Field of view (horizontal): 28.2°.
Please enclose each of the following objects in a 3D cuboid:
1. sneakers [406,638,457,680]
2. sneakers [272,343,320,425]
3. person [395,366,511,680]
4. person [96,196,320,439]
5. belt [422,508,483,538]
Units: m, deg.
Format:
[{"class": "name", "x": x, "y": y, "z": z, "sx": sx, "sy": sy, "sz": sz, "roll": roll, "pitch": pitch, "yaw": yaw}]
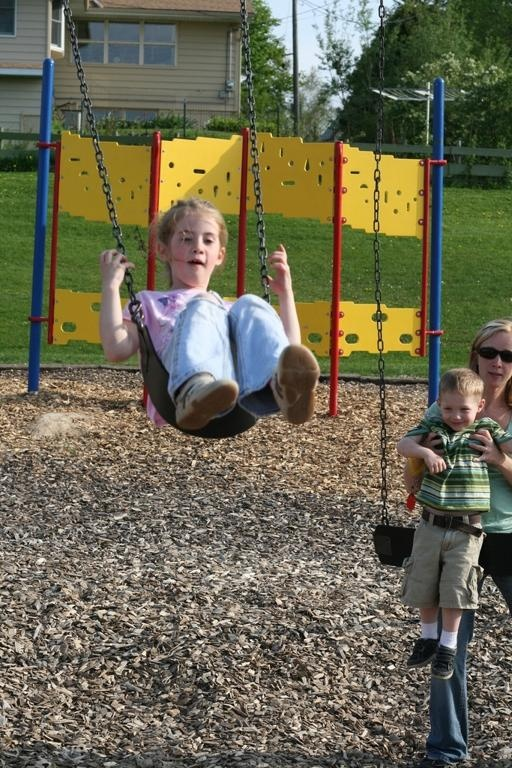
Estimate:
[{"class": "sneakers", "x": 0.499, "y": 0.786, "z": 2.897, "sx": 0.093, "sy": 0.058, "sz": 0.156, "roll": 1, "pitch": -12, "yaw": 25}, {"class": "sneakers", "x": 0.115, "y": -0.008, "z": 2.923, "sx": 0.103, "sy": 0.261, "sz": 0.120, "roll": -9, "pitch": 40, "yaw": -3}, {"class": "person", "x": 0.569, "y": 0.409, "z": 2.954, "sx": 0.275, "sy": 0.885, "sz": 0.386, "roll": 2, "pitch": 14, "yaw": -17}, {"class": "person", "x": -0.168, "y": -0.212, "z": 3.284, "sx": 0.580, "sy": 0.636, "sz": 0.985, "roll": 3, "pitch": -4, "yaw": -15}, {"class": "belt", "x": 0.559, "y": 0.386, "z": 2.897, "sx": 0.105, "sy": 0.029, "sz": 0.080, "roll": 10, "pitch": 2, "yaw": 29}]
